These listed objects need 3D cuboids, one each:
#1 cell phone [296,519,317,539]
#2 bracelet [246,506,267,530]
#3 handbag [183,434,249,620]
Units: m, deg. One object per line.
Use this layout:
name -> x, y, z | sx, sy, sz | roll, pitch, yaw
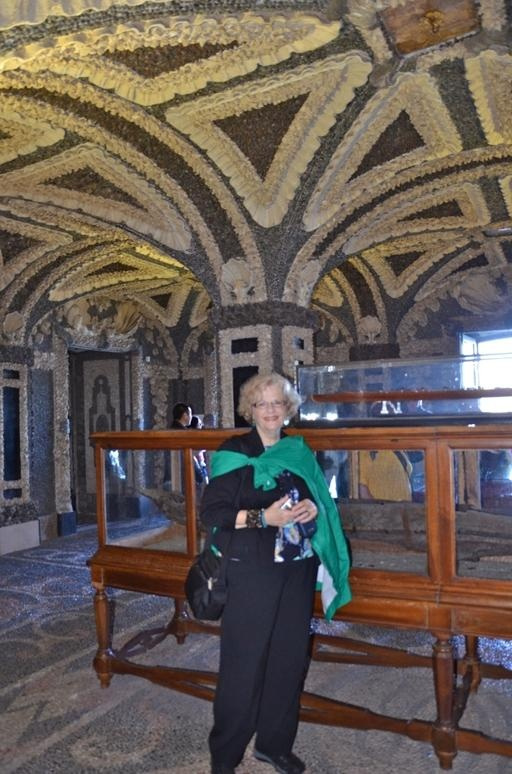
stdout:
cell phone -> 0.199, 0.557, 2.565 | 0.056, 0.097, 0.057 | -38, 31, -29
bracelet -> 0.001, 0.502, 2.474 | 0.063, 0.042, 0.079 | -2, -1, 2
handbag -> -0.182, 0.605, 2.619 | 0.140, 0.697, 0.278 | 2, -4, -41
